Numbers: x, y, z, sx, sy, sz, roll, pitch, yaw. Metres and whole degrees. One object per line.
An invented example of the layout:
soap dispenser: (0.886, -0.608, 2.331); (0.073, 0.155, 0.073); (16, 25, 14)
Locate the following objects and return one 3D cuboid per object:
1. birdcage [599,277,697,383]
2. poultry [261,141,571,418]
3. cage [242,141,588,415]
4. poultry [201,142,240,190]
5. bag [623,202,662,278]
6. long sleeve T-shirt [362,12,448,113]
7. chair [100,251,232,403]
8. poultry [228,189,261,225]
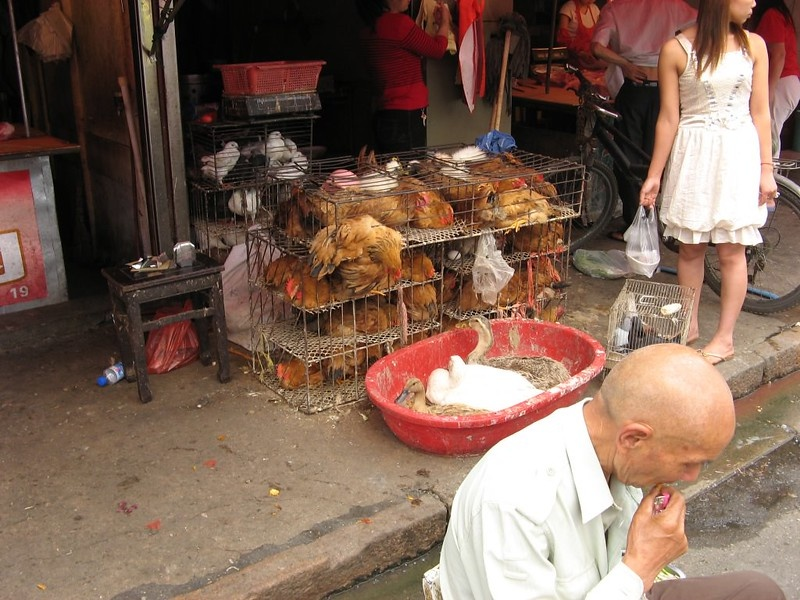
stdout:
birdcage: (2.140, 0.135, 4.918); (0.397, 0.590, 0.420); (2, -13, -2)
poultry: (0.139, -0.094, 4.607); (1.825, 1.091, 0.775); (-15, 26, -35)
cage: (-0.006, -0.392, 4.869); (2.230, 1.331, 0.771); (-7, 15, -27)
poultry: (-1.612, -1.267, 5.441); (0.365, 0.409, 0.196); (9, 29, -2)
bag: (2.072, -0.529, 5.108); (0.263, 0.639, 0.264); (12, 30, 36)
long sleeve T-shirt: (0.032, -2.923, 7.274); (0.939, 1.296, 0.988); (-15, 33, -18)
chair: (-1.789, 0.257, 4.731); (0.921, 0.977, 1.054); (-8, 7, 19)
poultry: (-1.404, -0.856, 5.460); (0.199, 0.311, 0.300); (14, 34, 18)
